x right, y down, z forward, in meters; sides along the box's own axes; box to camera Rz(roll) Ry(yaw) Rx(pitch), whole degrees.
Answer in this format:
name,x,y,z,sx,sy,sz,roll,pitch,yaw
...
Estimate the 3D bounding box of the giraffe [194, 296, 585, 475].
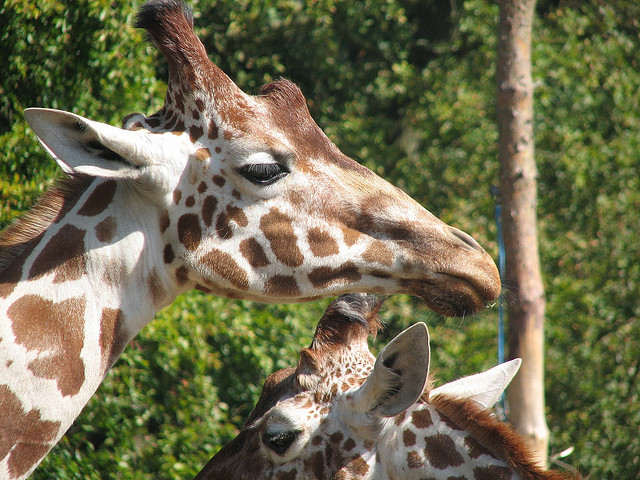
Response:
name,x,y,z,sx,sy,sz,roll,pitch,yaw
giraffe,0.577,1.120,11.939,2.823,1.786,1.329,0,-5,14
